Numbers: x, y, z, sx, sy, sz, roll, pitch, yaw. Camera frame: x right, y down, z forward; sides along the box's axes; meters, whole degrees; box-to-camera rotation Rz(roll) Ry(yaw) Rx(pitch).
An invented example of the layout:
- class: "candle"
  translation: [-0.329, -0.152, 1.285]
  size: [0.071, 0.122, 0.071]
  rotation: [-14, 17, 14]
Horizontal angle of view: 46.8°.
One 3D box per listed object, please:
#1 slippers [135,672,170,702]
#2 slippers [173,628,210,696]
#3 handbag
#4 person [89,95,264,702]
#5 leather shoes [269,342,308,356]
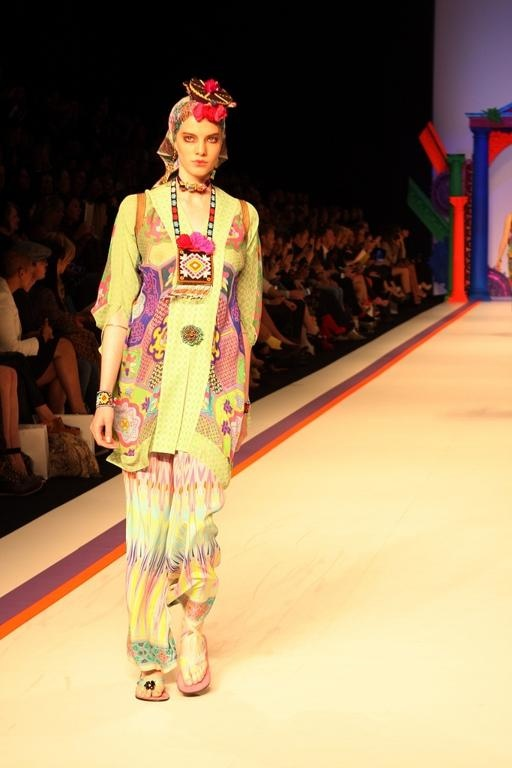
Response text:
- class: "slippers"
  translation: [-0.216, 0.631, 1.234]
  size: [0.038, 0.035, 0.091]
  rotation: [1, -12, -4]
- class: "slippers"
  translation: [-0.125, 0.575, 1.240]
  size: [0.059, 0.066, 0.168]
  rotation: [-1, 27, 0]
- class: "handbag"
  translation: [-1.167, 0.380, 3.627]
  size: [0.333, 0.367, 0.538]
  rotation: [0, -1, 5]
- class: "person"
  translation: [-0.154, 0.031, 1.254]
  size: [0.346, 1.280, 0.308]
  rotation: [0, -1, -4]
- class: "leather shoes"
  translation: [0.462, -0.468, 8.259]
  size: [0.197, 0.207, 0.593]
  rotation: [-1, -1, 38]
